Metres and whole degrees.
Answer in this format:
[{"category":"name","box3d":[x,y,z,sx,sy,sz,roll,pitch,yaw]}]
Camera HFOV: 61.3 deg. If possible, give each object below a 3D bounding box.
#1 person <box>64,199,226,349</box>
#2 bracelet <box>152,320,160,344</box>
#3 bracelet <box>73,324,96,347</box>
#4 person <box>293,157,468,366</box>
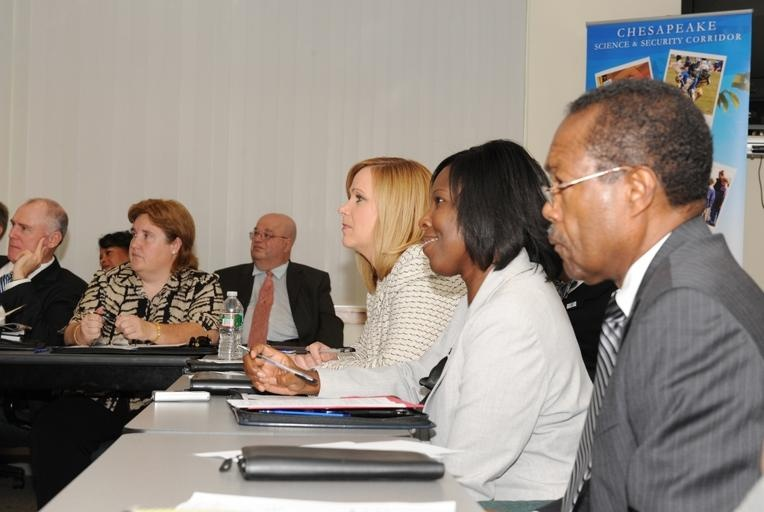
[{"category":"person","box3d":[-1.234,0.061,3.392,0.702,0.712,0.815,-2,5,-36]},{"category":"bracelet","box3d":[-1.086,0.361,3.088,0.028,0.087,0.070,1,4,-3]},{"category":"bracelet","box3d":[-1.424,0.371,3.060,0.076,0.092,0.085,-1,22,8]},{"category":"person","box3d":[0.006,0.055,2.591,0.789,0.884,0.668,2,-3,-15]}]
